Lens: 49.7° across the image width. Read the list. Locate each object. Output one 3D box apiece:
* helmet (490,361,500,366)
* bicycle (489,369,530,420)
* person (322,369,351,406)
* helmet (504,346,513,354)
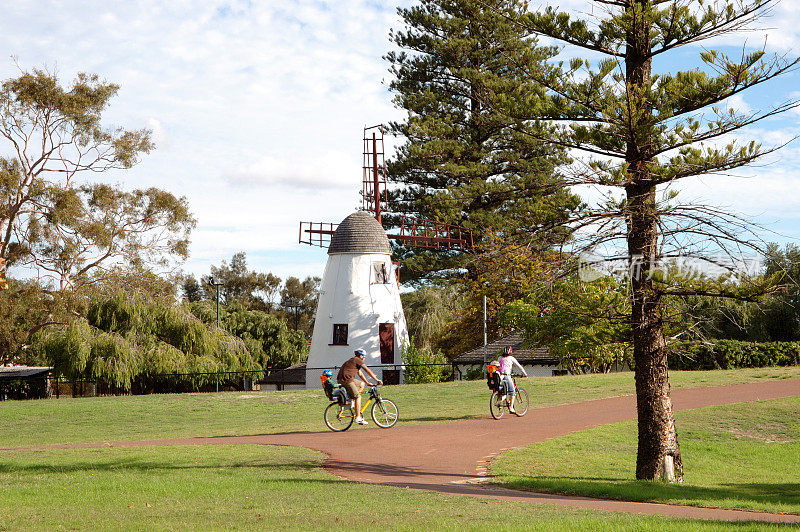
[{"bbox_3d":[3.544,3.644,32.617,0.328,0.219,0.472,-2,-10,3],"label":"helmet"},{"bbox_3d":[4.184,5.234,34.063,1.129,1.527,2.409,0,-1,36],"label":"bicycle"},{"bbox_3d":[-2.346,4.249,30.765,0.950,1.247,0.868,-8,7,-11],"label":"person"},{"bbox_3d":[4.089,3.132,32.504,0.221,0.289,0.308,-5,-40,-13],"label":"helmet"}]
